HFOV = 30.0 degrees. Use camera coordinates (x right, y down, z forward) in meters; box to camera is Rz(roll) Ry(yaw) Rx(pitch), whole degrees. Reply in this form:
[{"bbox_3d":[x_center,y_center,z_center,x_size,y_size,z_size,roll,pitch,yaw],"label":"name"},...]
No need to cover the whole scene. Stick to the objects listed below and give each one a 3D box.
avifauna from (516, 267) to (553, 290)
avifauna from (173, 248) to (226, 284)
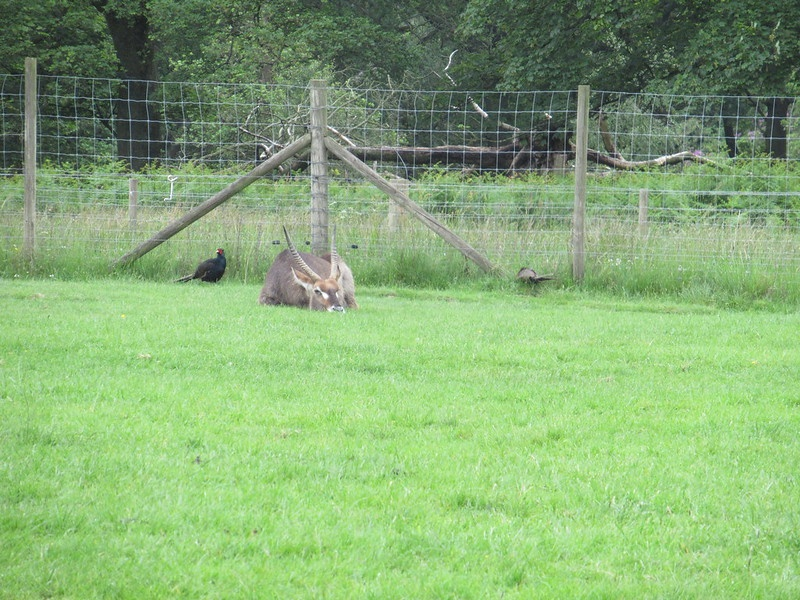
[{"bbox_3d":[3.040,-0.465,33.854,0.796,0.475,0.292,1,6,5],"label":"avifauna"},{"bbox_3d":[-4.498,-0.765,34.405,0.980,0.770,0.372,-1,6,-15],"label":"avifauna"}]
